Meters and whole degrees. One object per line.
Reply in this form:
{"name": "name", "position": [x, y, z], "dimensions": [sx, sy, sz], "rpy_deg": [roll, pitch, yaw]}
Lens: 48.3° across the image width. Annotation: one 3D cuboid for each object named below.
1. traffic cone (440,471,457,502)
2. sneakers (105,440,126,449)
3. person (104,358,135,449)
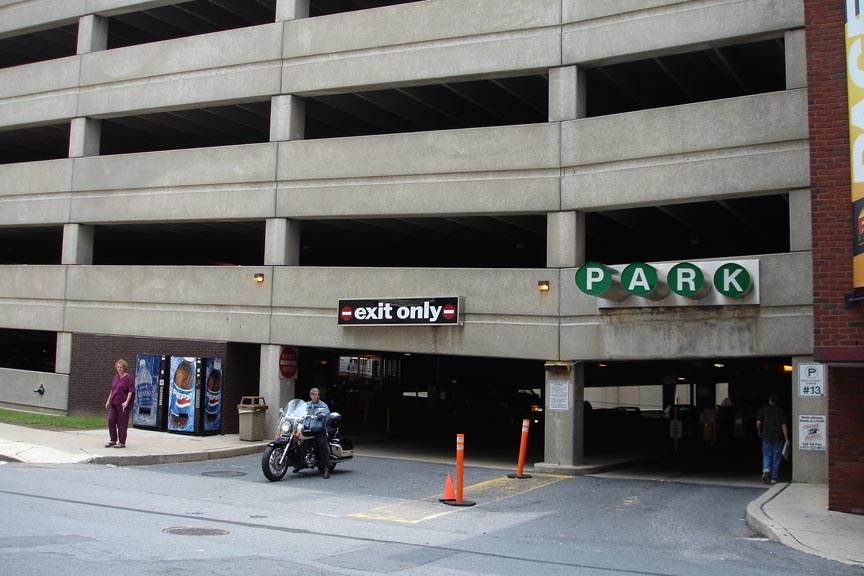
{"name": "traffic cone", "position": [0.572, 5.383, 26.038], "dimensions": [0.610, 0.743, 0.632], "rpy_deg": [1, -5, -20]}
{"name": "sneakers", "position": [-9.664, 4.828, 29.471], "dimensions": [0.261, 0.166, 0.468], "rpy_deg": [2, -17, 3]}
{"name": "person", "position": [-9.552, 3.559, 29.596], "dimensions": [0.703, 2.703, 1.027], "rpy_deg": [4, -10, -24]}
